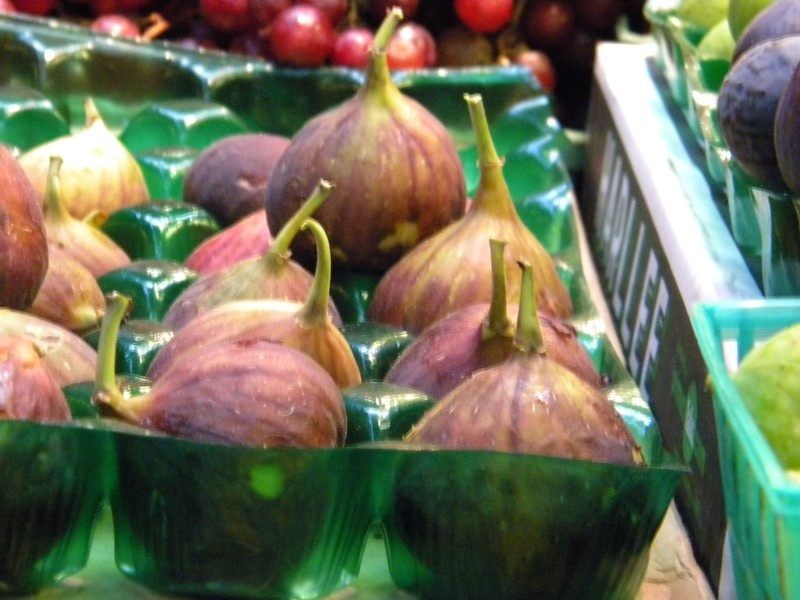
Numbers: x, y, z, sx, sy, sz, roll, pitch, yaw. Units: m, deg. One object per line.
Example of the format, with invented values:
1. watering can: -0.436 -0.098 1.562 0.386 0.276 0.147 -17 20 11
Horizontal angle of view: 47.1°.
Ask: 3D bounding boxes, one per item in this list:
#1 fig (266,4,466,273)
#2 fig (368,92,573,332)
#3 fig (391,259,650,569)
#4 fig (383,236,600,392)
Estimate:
1. fig: -0.048 -0.145 0.818 0.162 0.268 0.172 15 19 33
2. fig: 0.057 -0.066 0.783 0.154 0.202 0.152 -4 -2 -30
3. fig: 0.065 0.028 0.612 0.151 0.135 0.181 7 11 12
4. fig: 0.048 0.026 0.591 0.100 0.083 0.110 9 36 15
